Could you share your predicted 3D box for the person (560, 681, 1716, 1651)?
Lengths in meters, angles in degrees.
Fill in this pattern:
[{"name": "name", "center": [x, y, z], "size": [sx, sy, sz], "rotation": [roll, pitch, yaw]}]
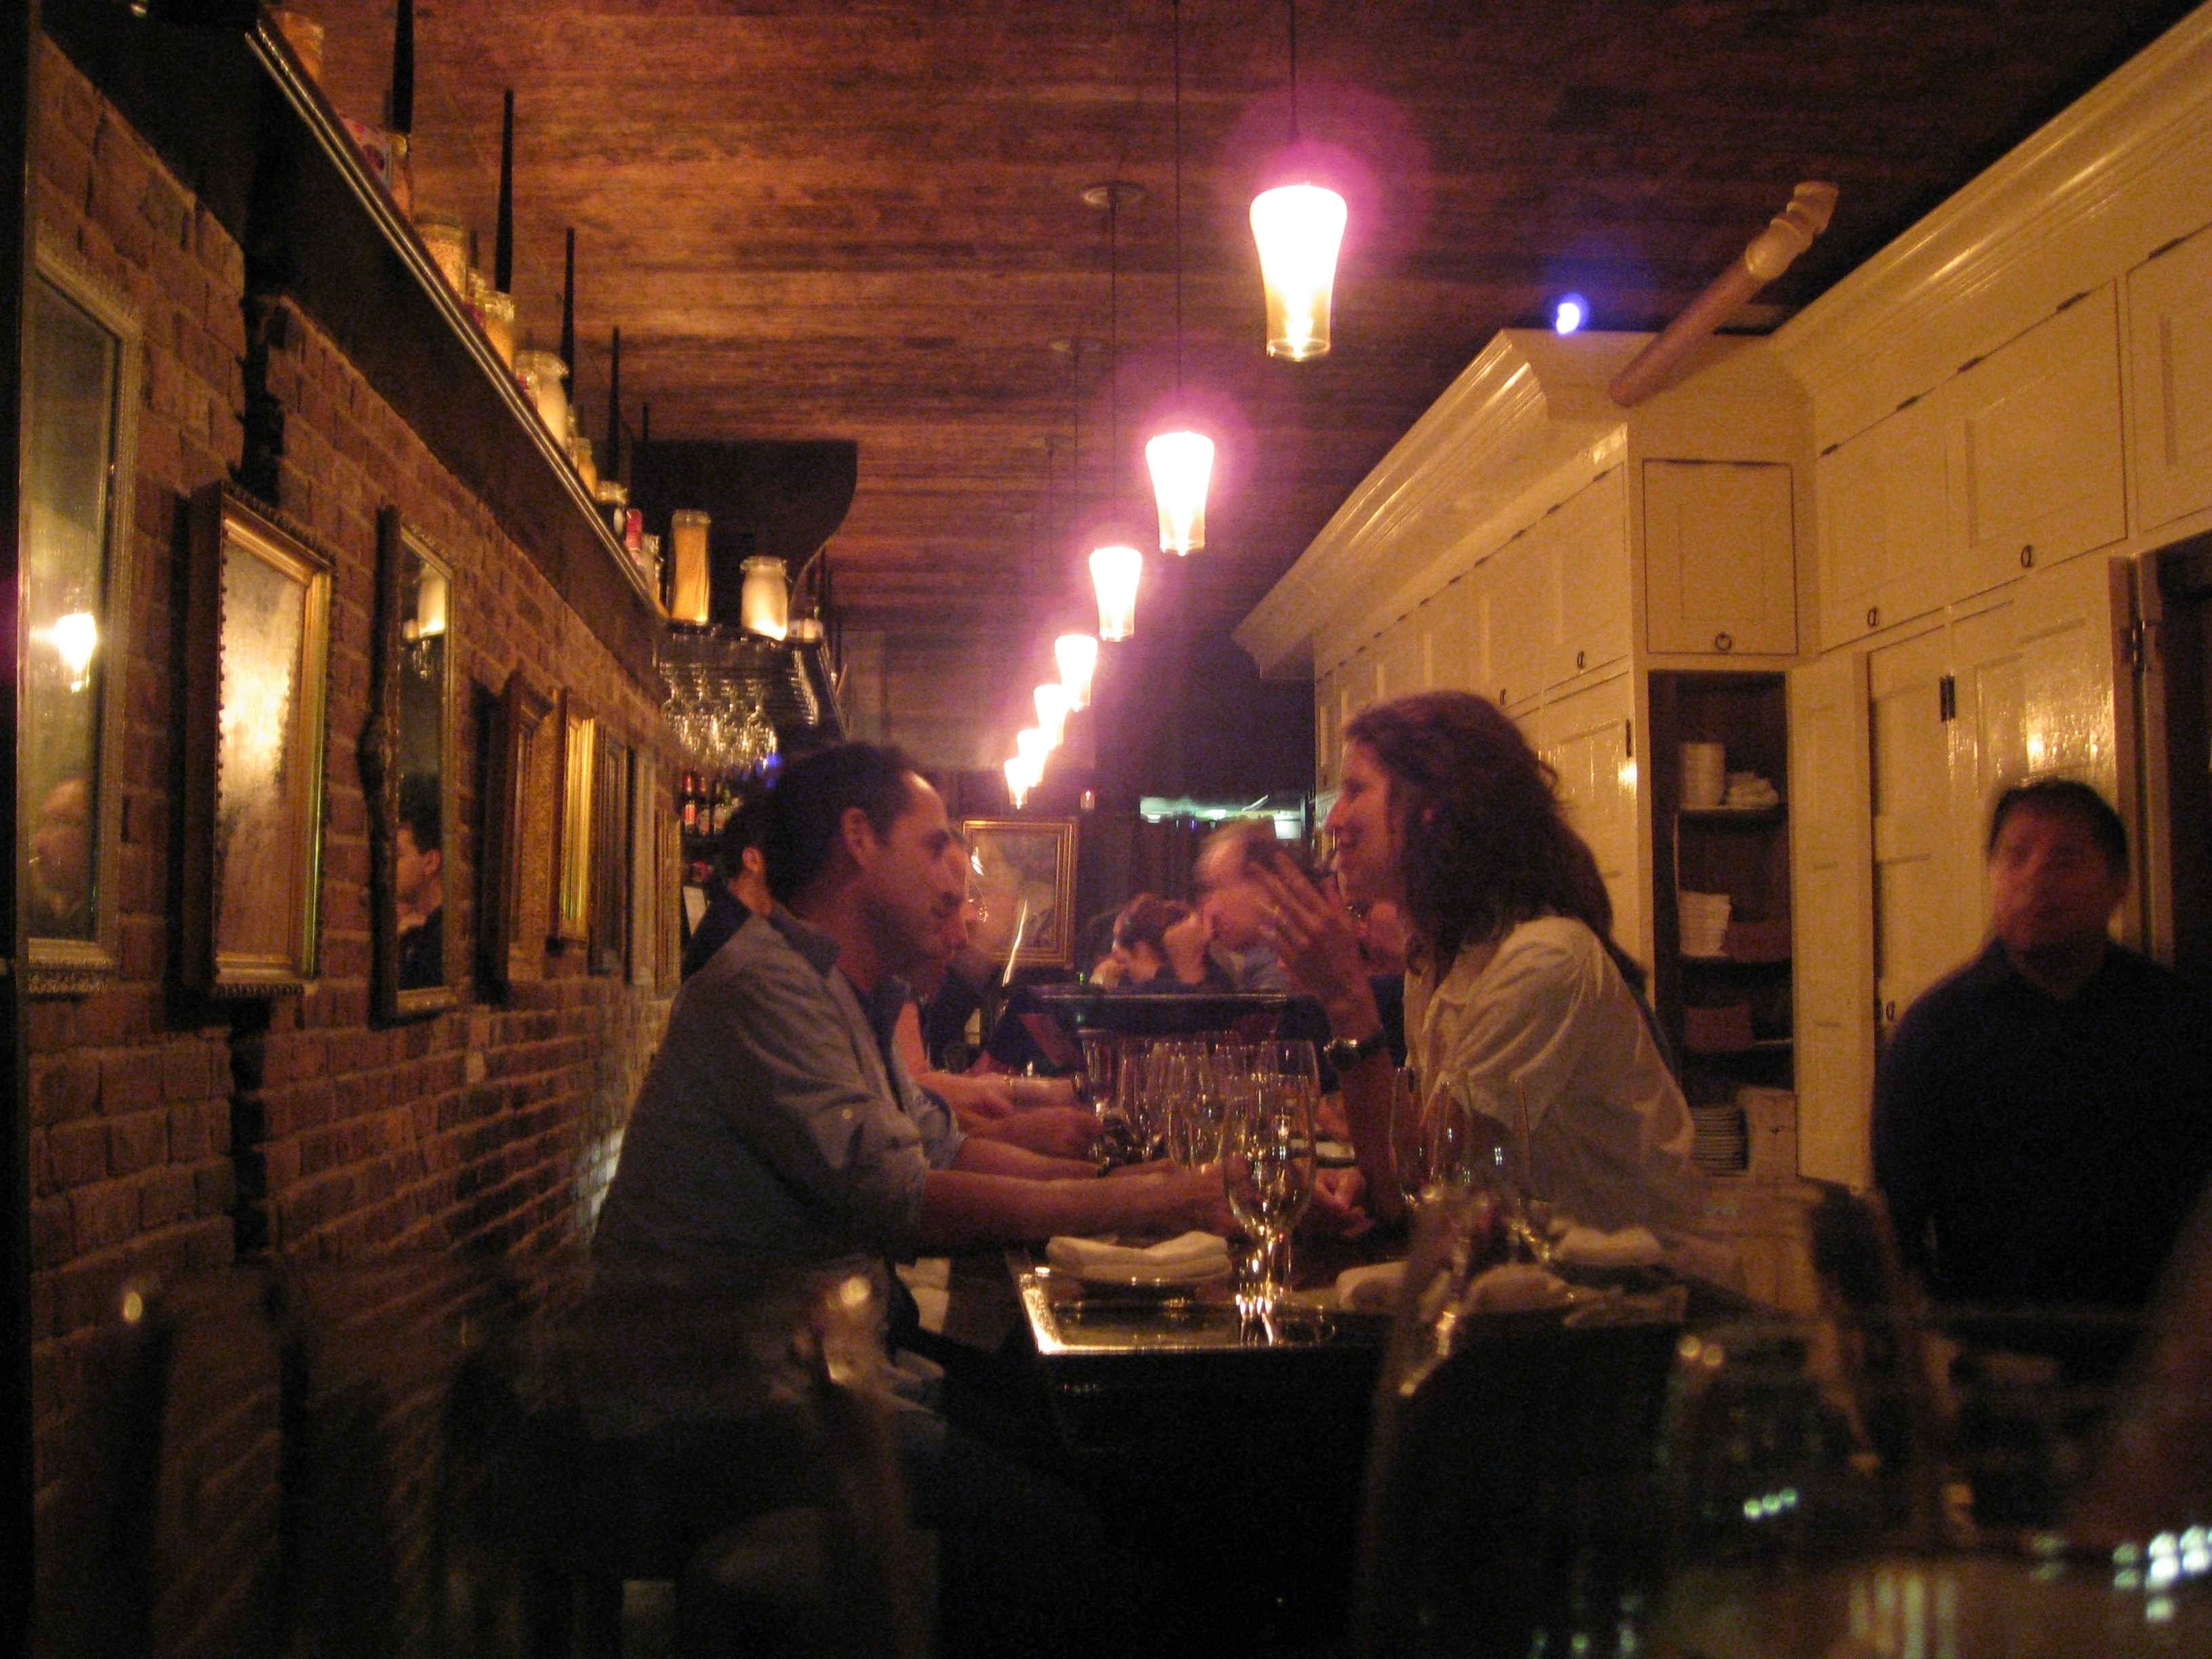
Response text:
[{"name": "person", "center": [0.022, 0.308, 2.476], "size": [1.461, 0.906, 0.761], "rotation": [-3, -9, -9]}]
